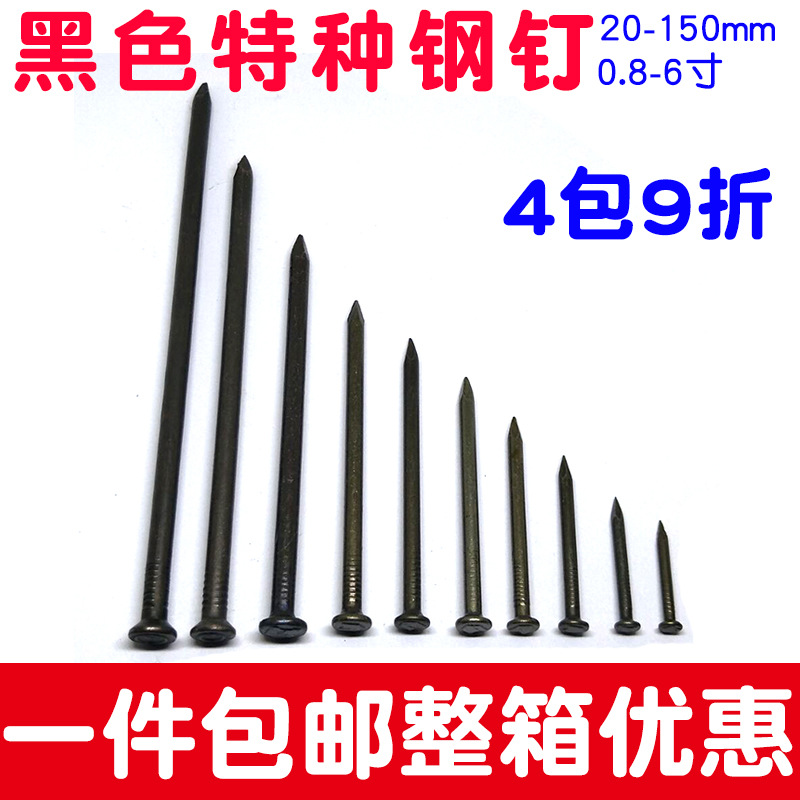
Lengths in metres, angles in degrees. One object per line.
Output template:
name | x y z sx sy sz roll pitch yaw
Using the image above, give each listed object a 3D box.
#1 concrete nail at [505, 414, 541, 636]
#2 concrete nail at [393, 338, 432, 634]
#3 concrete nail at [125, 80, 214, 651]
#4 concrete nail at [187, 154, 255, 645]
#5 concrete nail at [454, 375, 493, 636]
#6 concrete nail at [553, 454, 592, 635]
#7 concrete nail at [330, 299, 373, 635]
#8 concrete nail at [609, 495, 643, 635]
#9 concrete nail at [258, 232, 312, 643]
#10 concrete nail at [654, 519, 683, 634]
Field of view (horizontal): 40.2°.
concrete nail | 0.239 0.242 2.139 0.064 0.416 0.198 1 -4 5
concrete nail | 0.029 0.157 2.149 0.061 0.574 0.256 2 -3 0
concrete nail | -0.455 -0.085 2.158 0.100 0.955 0.117 8 -30 -22
concrete nail | -0.351 -0.022 2.156 0.086 0.826 0.097 -1 -14 3
concrete nail | 0.145 0.202 2.143 0.062 0.497 0.228 2 -3 2
concrete nail | 0.339 0.282 2.137 0.062 0.341 0.160 1 -4 9
concrete nail | -0.087 0.117 2.147 0.069 0.657 0.300 2 -3 -3
concrete nail | 0.440 0.325 2.138 0.058 0.257 0.122 1 -4 11
concrete nail | -0.222 0.087 2.129 0.083 0.692 0.090 -4 -16 11
concrete nail | 0.529 0.348 2.139 0.052 0.213 0.103 1 -4 13
